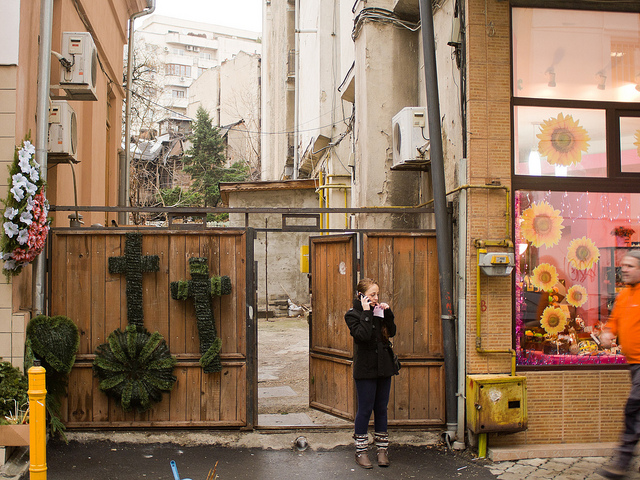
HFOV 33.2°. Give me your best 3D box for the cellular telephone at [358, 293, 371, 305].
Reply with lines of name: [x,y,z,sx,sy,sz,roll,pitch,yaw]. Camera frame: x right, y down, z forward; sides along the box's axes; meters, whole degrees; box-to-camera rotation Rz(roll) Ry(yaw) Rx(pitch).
cellular telephone: [0.588,0.810,14.824,0.086,0.127,0.034,-17,-3,15]

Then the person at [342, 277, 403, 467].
person: [0.726,1.840,15.052,0.740,2.573,0.903,-1,-4,-2]

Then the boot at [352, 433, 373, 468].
boot: [0.603,2.900,14.872,0.231,0.460,0.328,-1,-4,-4]

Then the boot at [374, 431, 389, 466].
boot: [0.873,2.901,14.937,0.215,0.417,0.617,-1,4,-6]

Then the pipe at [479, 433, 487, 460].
pipe: [2.315,2.912,15.191,0.113,0.352,0.151,-2,-4,9]

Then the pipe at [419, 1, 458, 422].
pipe: [1.752,-0.422,15.590,0.303,6.087,0.658,-3,-4,23]
